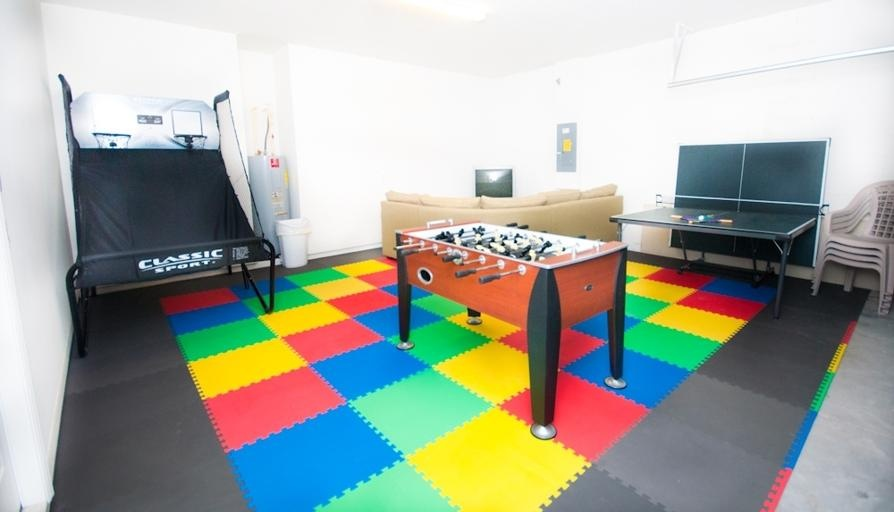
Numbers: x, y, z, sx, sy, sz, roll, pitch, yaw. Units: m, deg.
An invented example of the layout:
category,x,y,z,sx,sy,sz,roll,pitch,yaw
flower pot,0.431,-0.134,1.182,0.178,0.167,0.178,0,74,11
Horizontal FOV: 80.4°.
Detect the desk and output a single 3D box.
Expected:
category,x,y,z,sx,sy,sz,roll,pitch,yaw
desk,3.605,-0.033,7.064,1.884,1.045,1.649,12,19,39
